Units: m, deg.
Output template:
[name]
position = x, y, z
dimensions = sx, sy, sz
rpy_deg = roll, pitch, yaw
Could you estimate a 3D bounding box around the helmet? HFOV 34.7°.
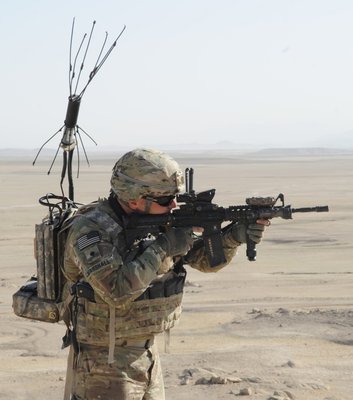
[helmet]
position = -0.205, -0.182, 4.277
dimensions = 0.551, 0.342, 0.380
rpy_deg = 11, 4, 14
